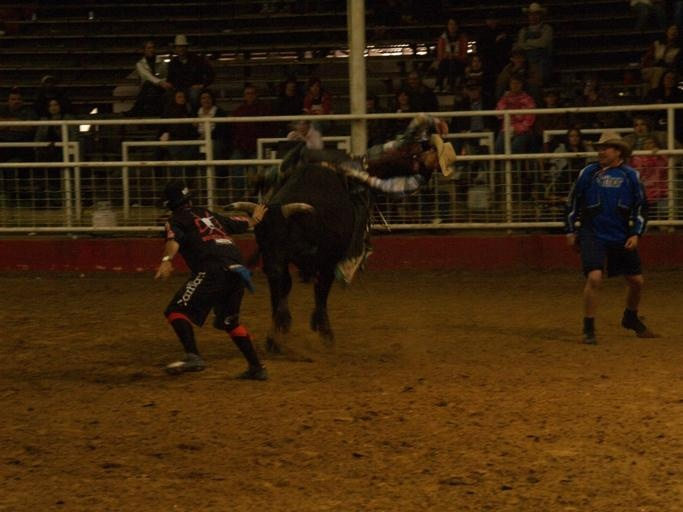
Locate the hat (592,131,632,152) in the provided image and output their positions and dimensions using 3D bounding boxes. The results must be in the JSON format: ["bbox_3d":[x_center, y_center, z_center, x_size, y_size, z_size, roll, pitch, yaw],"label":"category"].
[{"bbox_3d":[2.649,-1.111,7.064,0.312,0.188,0.285,2,12,15],"label":"hat"}]

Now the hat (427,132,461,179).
[{"bbox_3d":[0.951,-0.910,6.618,0.201,0.414,0.267,0,-20,-42],"label":"hat"}]

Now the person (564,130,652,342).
[{"bbox_3d":[2.630,-0.183,7.066,0.861,2.030,0.779,2,15,13],"label":"person"}]

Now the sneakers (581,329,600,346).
[{"bbox_3d":[2.368,0.784,6.905,0.143,0.113,0.098,2,13,14],"label":"sneakers"}]

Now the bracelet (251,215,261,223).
[{"bbox_3d":[-0.732,-0.315,6.179,0.087,0.060,0.023,-7,-12,-44],"label":"bracelet"}]

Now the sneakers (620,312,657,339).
[{"bbox_3d":[2.941,0.657,7.161,0.454,0.238,0.167,13,46,33],"label":"sneakers"}]

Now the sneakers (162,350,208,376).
[{"bbox_3d":[-1.266,0.878,5.881,0.386,0.118,0.163,2,-1,-9],"label":"sneakers"}]

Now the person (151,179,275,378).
[{"bbox_3d":[-1.064,0.195,6.011,0.840,1.605,0.770,-3,14,-5],"label":"person"}]

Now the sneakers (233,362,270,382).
[{"bbox_3d":[-0.715,0.958,5.911,0.339,0.096,0.101,1,2,4],"label":"sneakers"}]
